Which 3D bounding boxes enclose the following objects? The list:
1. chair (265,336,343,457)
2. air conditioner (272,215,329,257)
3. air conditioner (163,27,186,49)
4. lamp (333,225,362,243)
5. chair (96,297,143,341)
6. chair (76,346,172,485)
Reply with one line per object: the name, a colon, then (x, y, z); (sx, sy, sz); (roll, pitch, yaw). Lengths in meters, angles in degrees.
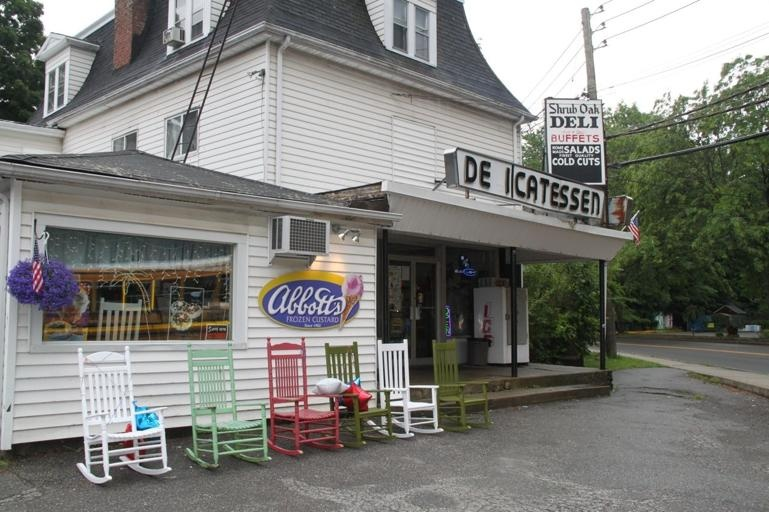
chair: (-1.515, 2.478, 12.356); (1.208, 1.998, 1.771); (1, -7, -10)
air conditioner: (-1.581, -0.378, 13.175); (0.980, 0.678, 0.520); (3, 0, -31)
air conditioner: (-5.383, -5.530, 17.271); (0.704, 0.494, 0.495); (-2, 0, 44)
lamp: (-0.770, -0.453, 13.998); (0.543, 0.324, 0.278); (6, -8, -38)
chair: (-4.647, 1.158, 12.019); (0.660, 1.067, 0.691); (5, -18, -21)
chair: (-4.173, 2.461, 10.783); (1.327, 2.028, 1.645); (3, -8, -29)
